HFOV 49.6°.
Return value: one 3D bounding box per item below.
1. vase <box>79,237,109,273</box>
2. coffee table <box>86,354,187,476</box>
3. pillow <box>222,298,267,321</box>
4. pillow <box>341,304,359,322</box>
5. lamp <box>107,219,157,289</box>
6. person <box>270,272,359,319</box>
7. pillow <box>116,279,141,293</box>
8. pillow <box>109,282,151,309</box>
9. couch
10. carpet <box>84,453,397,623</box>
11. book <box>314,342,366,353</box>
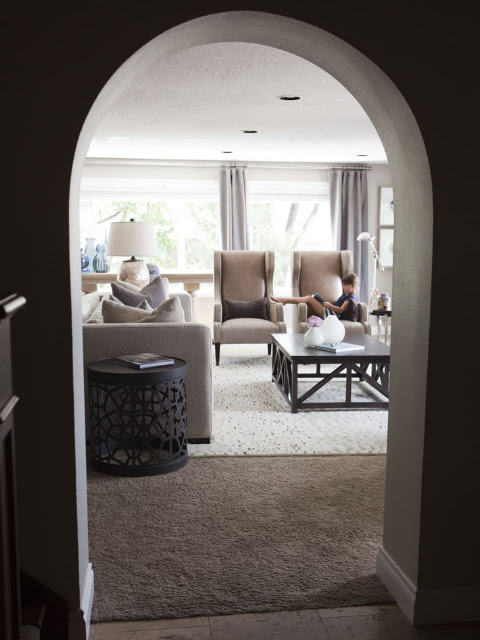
[{"bbox_3d":[-1.867,-0.839,6.669,0.323,0.453,0.504,-1,5,-16],"label":"vase"},{"bbox_3d":[-0.466,0.443,2.745,0.527,0.616,0.544,0,7,-4],"label":"coffee table"},{"bbox_3d":[0.034,-0.109,5.334,0.438,0.216,0.234,0,5,1],"label":"pillow"},{"bbox_3d":[1.058,-0.069,4.954,0.166,0.168,0.129,2,-2,0],"label":"pillow"},{"bbox_3d":[-1.089,-0.669,5.195,0.471,0.677,0.408,-1,5,-14],"label":"lamp"},{"bbox_3d":[0.744,-0.244,5.119,0.838,0.548,0.335,7,3,13],"label":"person"},{"bbox_3d":[-0.960,-0.294,4.457,0.185,0.151,0.194,3,6,-19],"label":"pillow"},{"bbox_3d":[-0.861,-0.243,4.015,0.273,0.106,0.274,0,30,-41],"label":"pillow"},{"bbox_3d":[-0.484,0.271,2.970,0.596,0.667,0.627,0,8,2],"label":"couch"},{"bbox_3d":[0.072,0.783,2.145,1.341,0.032,1.360,-1,6,-16],"label":"carpet"},{"bbox_3d":[0.715,0.197,3.712,0.350,0.042,0.232,1,5,8],"label":"book"}]
